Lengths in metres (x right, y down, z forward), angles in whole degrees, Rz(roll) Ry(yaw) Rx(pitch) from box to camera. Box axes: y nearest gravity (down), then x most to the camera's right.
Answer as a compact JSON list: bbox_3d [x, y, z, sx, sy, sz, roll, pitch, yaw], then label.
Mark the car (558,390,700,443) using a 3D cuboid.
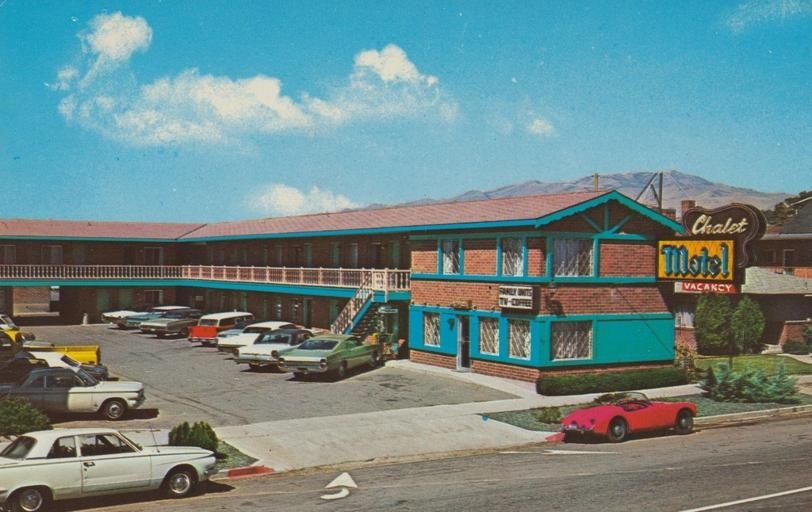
[{"bbox_3d":[9.374,7.256,33.261,5.547,1.459,2.400,-3,0,-19],"label":"car"}]
